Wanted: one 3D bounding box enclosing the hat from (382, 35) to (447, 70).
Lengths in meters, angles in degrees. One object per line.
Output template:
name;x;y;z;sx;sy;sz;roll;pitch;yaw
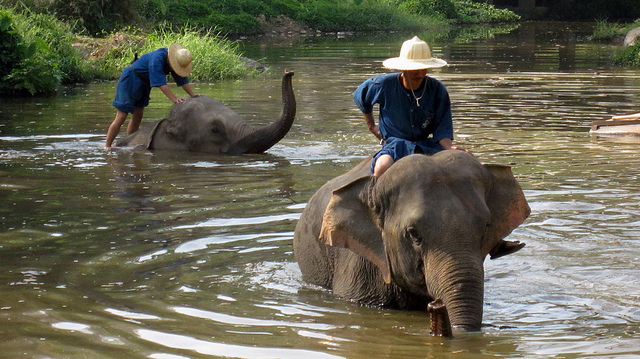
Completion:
hat;1.119;-1.537;10.412;0.914;0.289;0.782;-6;24;-24

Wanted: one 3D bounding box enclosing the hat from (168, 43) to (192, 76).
hat;-2.413;-2.019;14.718;0.173;0.449;0.582;-12;-10;41

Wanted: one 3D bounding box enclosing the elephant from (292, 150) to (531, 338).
elephant;0.882;0.611;9.608;2.176;1.891;1.171;6;15;33
